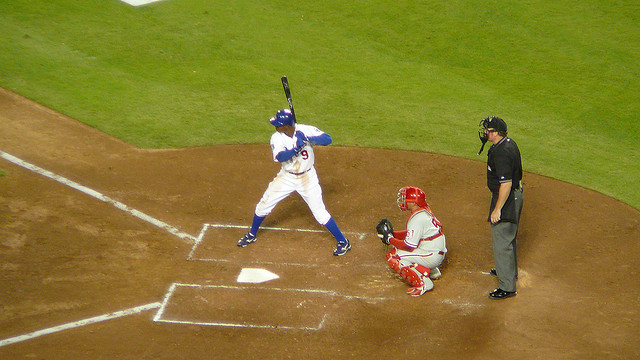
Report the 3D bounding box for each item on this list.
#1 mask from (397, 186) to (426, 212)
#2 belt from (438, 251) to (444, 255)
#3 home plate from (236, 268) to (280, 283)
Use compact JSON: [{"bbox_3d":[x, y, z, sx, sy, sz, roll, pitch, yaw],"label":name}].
[{"bbox_3d":[1.810,0.371,16.950,0.684,0.489,0.444,12,113,26],"label":"mask"},{"bbox_3d":[2.536,1.515,16.700,0.152,0.028,0.068,6,94,-4],"label":"belt"},{"bbox_3d":[-1.332,2.008,16.894,0.841,0.149,0.344,-1,66,2],"label":"home plate"}]
